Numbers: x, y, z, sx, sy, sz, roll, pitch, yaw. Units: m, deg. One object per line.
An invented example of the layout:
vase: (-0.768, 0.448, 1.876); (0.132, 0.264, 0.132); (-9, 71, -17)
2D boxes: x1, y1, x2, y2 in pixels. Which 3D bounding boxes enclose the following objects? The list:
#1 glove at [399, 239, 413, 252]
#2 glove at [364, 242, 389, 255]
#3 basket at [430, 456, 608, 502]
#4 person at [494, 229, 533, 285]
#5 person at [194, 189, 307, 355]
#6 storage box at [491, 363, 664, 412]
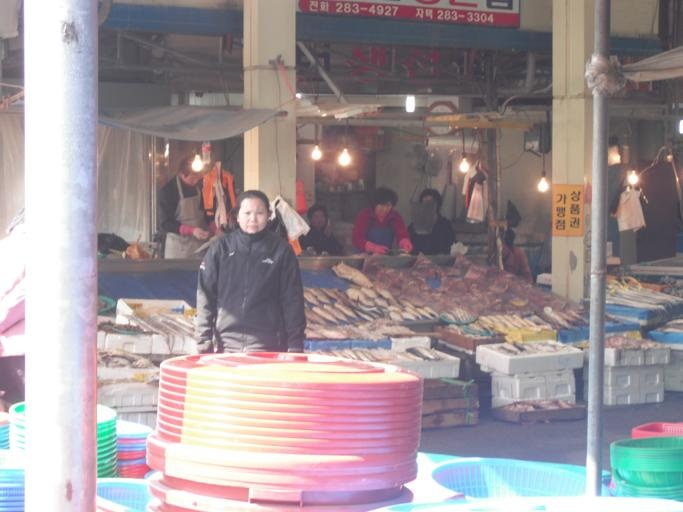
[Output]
glove: (0.684, -0.117, 12.137); (0.126, 0.159, 0.334); (0, 3, 2)
glove: (0.368, -0.091, 12.064); (0.318, 0.137, 0.286); (2, 4, 44)
basket: (1.059, 1.436, 7.074); (0.967, 0.240, 0.245); (0, 3, 4)
person: (2.140, -0.036, 13.866); (0.400, 0.668, 1.659); (0, 3, 10)
person: (-0.646, 0.106, 7.727); (0.756, 1.136, 0.250); (-1, 2, -9)
storage box: (2.305, 1.254, 10.767); (1.893, 0.437, 0.348); (-2, 3, -26)
